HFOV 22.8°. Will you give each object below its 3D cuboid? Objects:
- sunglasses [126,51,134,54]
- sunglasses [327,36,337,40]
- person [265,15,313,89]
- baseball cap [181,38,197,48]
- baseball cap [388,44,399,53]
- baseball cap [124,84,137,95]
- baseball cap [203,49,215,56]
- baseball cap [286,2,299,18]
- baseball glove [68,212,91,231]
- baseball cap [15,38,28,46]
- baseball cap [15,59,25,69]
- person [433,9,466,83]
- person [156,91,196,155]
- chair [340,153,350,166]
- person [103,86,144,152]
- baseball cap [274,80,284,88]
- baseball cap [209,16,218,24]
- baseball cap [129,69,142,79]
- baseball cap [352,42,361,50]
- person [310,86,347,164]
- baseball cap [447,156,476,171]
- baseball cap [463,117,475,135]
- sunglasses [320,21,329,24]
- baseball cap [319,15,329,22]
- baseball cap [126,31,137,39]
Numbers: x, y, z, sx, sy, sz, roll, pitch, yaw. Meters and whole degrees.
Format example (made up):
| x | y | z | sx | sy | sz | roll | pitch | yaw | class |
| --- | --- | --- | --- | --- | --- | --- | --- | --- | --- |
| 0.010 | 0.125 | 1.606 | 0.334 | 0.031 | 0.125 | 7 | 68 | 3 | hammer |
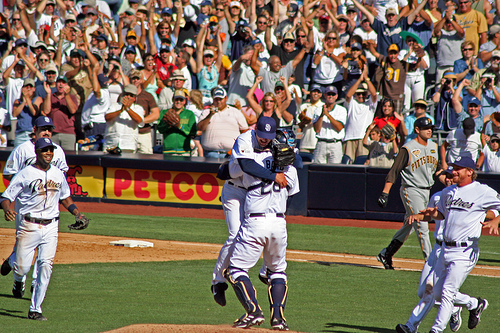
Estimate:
| x | y | z | sx | sy | sz | roll | pitch | yaw | class |
| --- | --- | --- | --- | --- | --- | --- | --- | --- | --- |
| -3.276 | -3.150 | 34.175 | 0.188 | 0.071 | 0.027 | -1 | 13 | -7 | sunglasses |
| 2.284 | -3.511 | 33.753 | 0.313 | 0.112 | 0.083 | -6 | 15 | -26 | sunglasses |
| 1.115 | -2.720 | 33.872 | 1.359 | 2.855 | 0.713 | 0 | -25 | 0 | person |
| -1.651 | -3.466 | 34.782 | 0.241 | 0.189 | 0.359 | 19 | -10 | 45 | baseball cap |
| 3.870 | -3.159 | 33.085 | 0.220 | 0.187 | 0.385 | 4 | -2 | 8 | baseball cap |
| -3.084 | -2.009 | 32.231 | 0.317 | 0.259 | 0.330 | 0 | 14 | -6 | baseball cap |
| -1.134 | -3.146 | 34.239 | 0.356 | 0.205 | 0.302 | 7 | 15 | 20 | baseball cap |
| 1.219 | -4.388 | 34.674 | 0.268 | 0.408 | 0.229 | 9 | -25 | 28 | baseball cap |
| -3.664 | 1.218 | 26.614 | 0.211 | 0.355 | 0.656 | 14 | -15 | -37 | baseball glove |
| -6.314 | -3.436 | 34.281 | 0.355 | 0.181 | 0.369 | -3 | 15 | -15 | baseball cap |
| -6.320 | -2.817 | 34.127 | 0.274 | 0.292 | 0.200 | -3 | 14 | -15 | baseball cap |
| 5.418 | -3.289 | 33.637 | 0.910 | 1.988 | 0.737 | 7 | 14 | 24 | person |
| -1.926 | -0.851 | 33.086 | 1.038 | 2.444 | 1.093 | 0 | -3 | 14 | person |
| 2.581 | -0.199 | 33.050 | 0.217 | 0.297 | 0.242 | 0 | -3 | -2 | chair |
| -3.295 | -1.242 | 32.722 | 1.014 | 1.972 | 1.002 | -1 | 13 | -7 | person |
| 0.805 | -2.226 | 32.894 | 0.192 | 0.193 | 0.430 | -1 | 15 | -10 | baseball cap |
| -0.978 | -4.141 | 34.914 | 0.205 | 0.228 | 0.463 | 1 | 15 | 1 | baseball cap |
| -3.013 | -2.459 | 32.905 | 0.312 | 0.214 | 0.467 | 0 | 15 | -5 | baseball cap |
| 2.924 | -3.281 | 33.538 | 0.190 | 0.153 | 0.319 | 3 | 1 | 11 | baseball cap |
| 2.119 | -1.095 | 32.682 | 0.915 | 2.072 | 0.726 | 2 | 13 | 6 | person |
| 4.400 | -0.069 | 25.380 | 0.401 | 0.192 | 0.276 | 5 | -2 | -18 | baseball cap |
| 5.509 | -1.004 | 30.953 | 0.273 | 0.453 | 0.338 | 3 | 14 | 10 | baseball cap |
| 2.105 | -4.027 | 34.588 | 0.207 | 0.085 | 0.030 | 2 | 13 | 1 | sunglasses |
| 2.102 | -4.161 | 34.570 | 0.185 | 0.155 | 0.326 | 1 | -18 | 6 | baseball cap |
| -3.293 | -3.693 | 34.647 | 0.184 | 0.161 | 0.329 | 0 | -5 | 0 | baseball cap |
